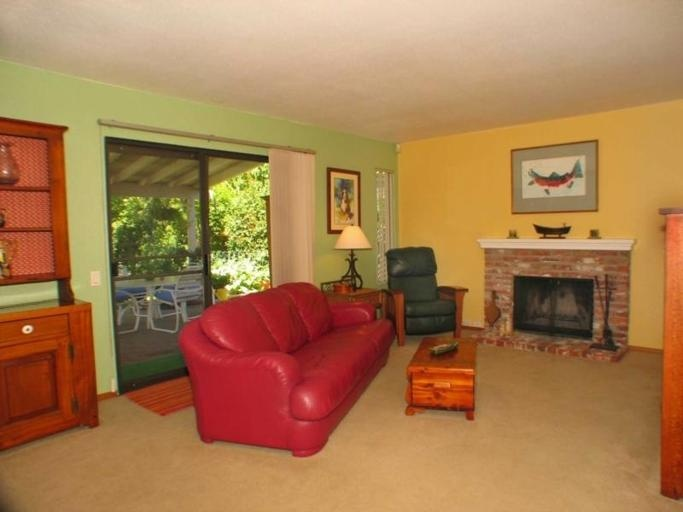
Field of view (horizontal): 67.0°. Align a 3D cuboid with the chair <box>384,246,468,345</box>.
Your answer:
[{"bbox_3d":[1.000,0.447,6.583,0.887,1.003,1.027,-3,9,-12],"label":"chair"}]

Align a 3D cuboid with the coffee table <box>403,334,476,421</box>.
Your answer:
[{"bbox_3d":[0.906,1.078,4.643,0.600,0.499,0.674,2,13,13],"label":"coffee table"}]

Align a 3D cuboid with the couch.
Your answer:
[{"bbox_3d":[-0.349,0.873,4.895,1.362,1.007,2.249,3,9,17],"label":"couch"}]

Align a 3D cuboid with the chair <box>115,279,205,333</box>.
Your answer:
[{"bbox_3d":[-1.998,0.520,5.482,0.784,0.604,0.524,7,-12,-44],"label":"chair"}]

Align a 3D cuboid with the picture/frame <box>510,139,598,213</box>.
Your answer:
[{"bbox_3d":[2.694,-1.012,6.427,1.112,0.884,0.089,-1,0,33],"label":"picture/frame"}]

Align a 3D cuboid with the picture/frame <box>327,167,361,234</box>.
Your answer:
[{"bbox_3d":[0.032,-0.739,6.986,0.024,0.823,0.785,5,9,34],"label":"picture/frame"}]
